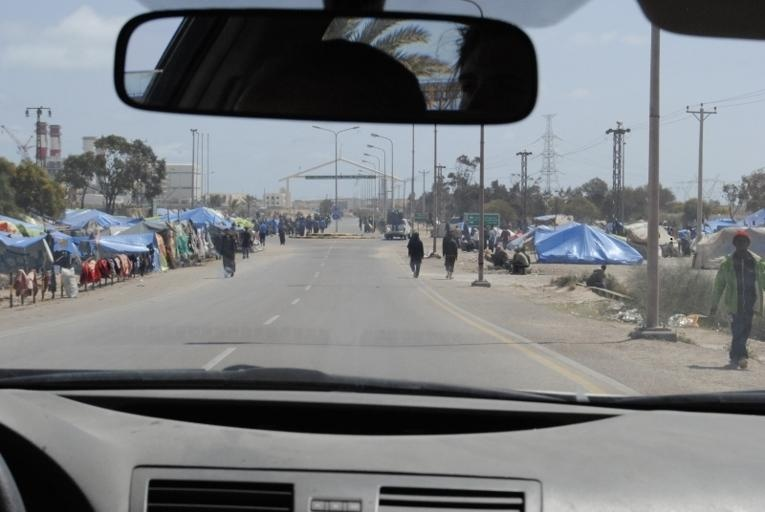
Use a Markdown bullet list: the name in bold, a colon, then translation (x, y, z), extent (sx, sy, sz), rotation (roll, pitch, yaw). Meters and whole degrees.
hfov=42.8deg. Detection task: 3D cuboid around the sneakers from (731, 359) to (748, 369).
- **sneakers**: translation (3.424, 1.041, 9.380), extent (0.184, 0.076, 0.093), rotation (-2, 14, -1)
